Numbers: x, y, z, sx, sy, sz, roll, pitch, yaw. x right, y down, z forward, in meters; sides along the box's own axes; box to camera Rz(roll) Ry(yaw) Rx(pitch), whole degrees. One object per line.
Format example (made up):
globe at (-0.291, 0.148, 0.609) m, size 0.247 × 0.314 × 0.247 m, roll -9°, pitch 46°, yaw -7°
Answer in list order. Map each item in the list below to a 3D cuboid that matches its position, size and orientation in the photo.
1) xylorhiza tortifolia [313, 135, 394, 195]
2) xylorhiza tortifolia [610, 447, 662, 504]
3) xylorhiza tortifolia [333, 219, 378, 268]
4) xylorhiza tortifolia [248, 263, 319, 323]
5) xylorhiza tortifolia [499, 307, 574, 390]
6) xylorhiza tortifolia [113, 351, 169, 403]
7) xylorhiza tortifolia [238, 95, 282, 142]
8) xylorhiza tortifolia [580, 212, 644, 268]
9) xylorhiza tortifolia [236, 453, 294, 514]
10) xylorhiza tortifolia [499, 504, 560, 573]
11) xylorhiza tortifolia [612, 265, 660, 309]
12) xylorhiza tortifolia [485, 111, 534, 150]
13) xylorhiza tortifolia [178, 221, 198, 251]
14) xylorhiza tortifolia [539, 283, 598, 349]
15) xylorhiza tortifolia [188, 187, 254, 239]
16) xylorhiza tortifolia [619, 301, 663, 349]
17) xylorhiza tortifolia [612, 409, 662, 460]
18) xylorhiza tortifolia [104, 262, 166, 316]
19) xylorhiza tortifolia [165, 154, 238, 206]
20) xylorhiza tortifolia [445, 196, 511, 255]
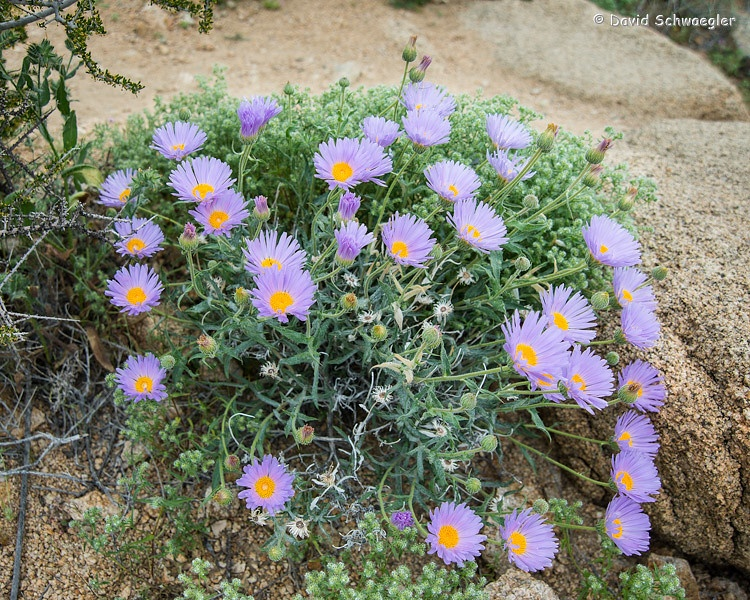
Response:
xylorhiza tortifolia at (-0.157, -0.671, 3.580) m, size 0.275 × 0.328 × 0.131 m, roll -1°, pitch 72°, yaw 14°
xylorhiza tortifolia at (1.228, 0.827, 3.538) m, size 0.190 × 0.095 × 0.250 m, roll 0°, pitch 71°, yaw 1°
xylorhiza tortifolia at (-0.107, -0.274, 3.396) m, size 0.162 × 0.166 × 0.182 m, roll -7°, pitch 47°, yaw -22°
xylorhiza tortifolia at (-0.410, -0.053, 3.288) m, size 0.274 × 0.313 × 0.132 m, roll -9°, pitch 71°, yaw 21°
xylorhiza tortifolia at (0.677, 0.201, 3.155) m, size 0.282 × 0.125 × 0.294 m, roll -40°, pitch 83°, yaw -15°
xylorhiza tortifolia at (-1.103, 0.354, 3.468) m, size 0.226 × 0.123 × 0.253 m, roll -24°, pitch 21°, yaw -27°
xylorhiza tortifolia at (-0.616, -0.858, 3.615) m, size 0.191 × 0.220 × 0.213 m, roll 12°, pitch 19°, yaw 39°
xylorhiza tortifolia at (1.109, -0.275, 3.530) m, size 0.304 × 0.175 × 0.247 m, roll 7°, pitch 44°, yaw -11°
xylorhiza tortifolia at (-0.504, 0.805, 3.346) m, size 0.211 × 0.101 × 0.227 m, roll -11°, pitch 21°, yaw -40°
xylorhiza tortifolia at (0.704, 1.103, 3.419) m, size 0.234 × 0.111 × 0.284 m, roll -22°, pitch 79°, yaw -10°
xylorhiza tortifolia at (1.236, -0.035, 3.603) m, size 0.173 × 0.103 × 0.233 m, roll -2°, pitch 65°, yaw -5°
xylorhiza tortifolia at (0.664, -0.917, 3.812) m, size 0.191 × 0.104 × 0.216 m, roll 24°, pitch 36°, yaw -23°
xylorhiza tortifolia at (-0.862, -0.288, 3.454) m, size 0.079 × 0.138 × 0.106 m, roll 8°, pitch 41°, yaw -6°
xylorhiza tortifolia at (0.858, 0.021, 3.441) m, size 0.277 × 0.141 × 0.286 m, roll -14°, pitch 23°, yaw -39°
xylorhiza tortifolia at (-0.767, -0.430, 3.569) m, size 0.232 × 0.247 × 0.104 m, roll -9°, pitch 76°, yaw -41°
xylorhiza tortifolia at (1.236, 0.111, 3.496) m, size 0.179 × 0.090 × 0.194 m, roll -39°, pitch 98°, yaw -5°
xylorhiza tortifolia at (1.218, 0.662, 3.604) m, size 0.255 × 0.130 × 0.241 m, roll -39°, pitch 27°, yaw -31°
xylorhiza tortifolia at (-1.173, -0.085, 3.650) m, size 0.196 × 0.236 × 0.098 m, roll -14°, pitch 81°, yaw -10°
xylorhiza tortifolia at (-0.838, -0.596, 3.641) m, size 0.295 × 0.327 × 0.156 m, roll 6°, pitch 89°, yaw -14°
xylorhiza tortifolia at (0.439, -0.382, 3.518) m, size 0.231 × 0.272 × 0.135 m, roll -5°, pitch 84°, yaw 2°
